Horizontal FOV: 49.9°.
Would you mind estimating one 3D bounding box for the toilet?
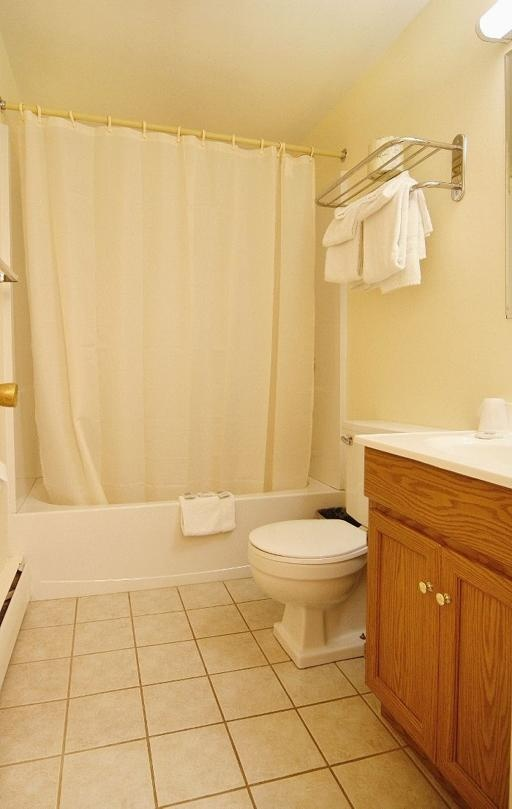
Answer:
[{"bbox_3d":[0.243,0.431,1.759,0.447,0.722,0.353,-2,8,-16],"label":"toilet"}]

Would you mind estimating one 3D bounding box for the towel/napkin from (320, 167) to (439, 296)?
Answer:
[{"bbox_3d":[0.401,-0.564,1.906,0.142,0.353,0.500,-1,4,-18],"label":"towel/napkin"}]
